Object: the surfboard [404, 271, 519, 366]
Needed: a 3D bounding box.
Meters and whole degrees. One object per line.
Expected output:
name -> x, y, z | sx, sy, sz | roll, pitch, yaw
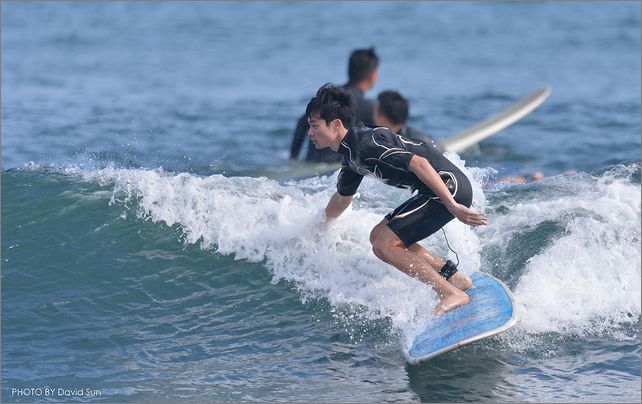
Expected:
surfboard -> 2.295, 2.059, 15.213 | 1.899, 0.386, 1.914 | -14, 10, 3
